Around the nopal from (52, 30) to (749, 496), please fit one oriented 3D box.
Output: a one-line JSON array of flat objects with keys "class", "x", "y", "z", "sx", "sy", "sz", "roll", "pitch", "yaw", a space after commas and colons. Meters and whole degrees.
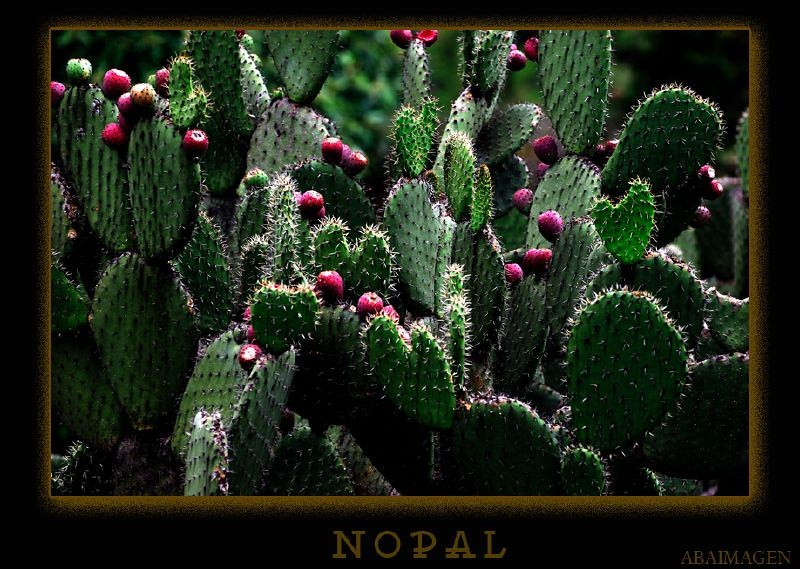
[{"class": "nopal", "x": -0.027, "y": -0.035, "z": 3.772, "sx": 1.394, "sy": 1.913, "sz": 1.188, "roll": -2, "pitch": 14, "yaw": -37}]
